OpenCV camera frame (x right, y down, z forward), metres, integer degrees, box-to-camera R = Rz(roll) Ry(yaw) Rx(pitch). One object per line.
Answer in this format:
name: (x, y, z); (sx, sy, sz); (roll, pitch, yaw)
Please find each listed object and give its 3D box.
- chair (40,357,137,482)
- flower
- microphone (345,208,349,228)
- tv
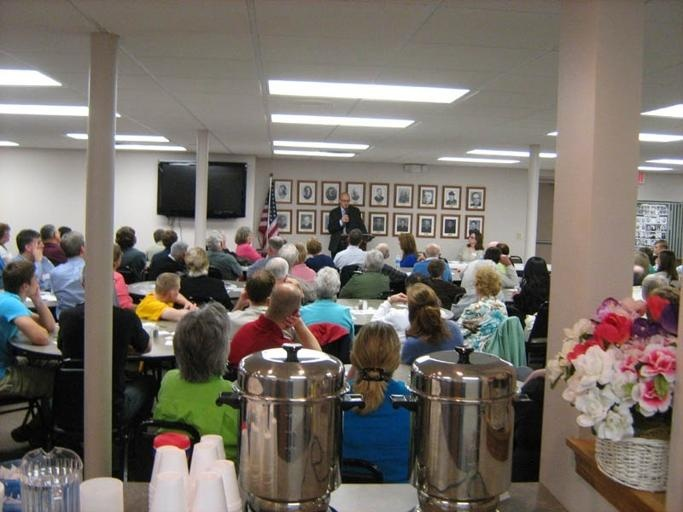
chair: (-1.359, 0.906, 3.338); (0.441, 0.695, 0.660); (2, -1, -20)
flower: (0.769, 0.273, 1.770); (0.397, 0.369, 0.382); (1, -6, -40)
microphone: (0.077, -0.679, 10.124); (0.062, 0.249, 0.073); (5, -8, -22)
tv: (-2.216, -1.084, 9.685); (1.033, 0.772, 0.105); (1, -2, 1)
